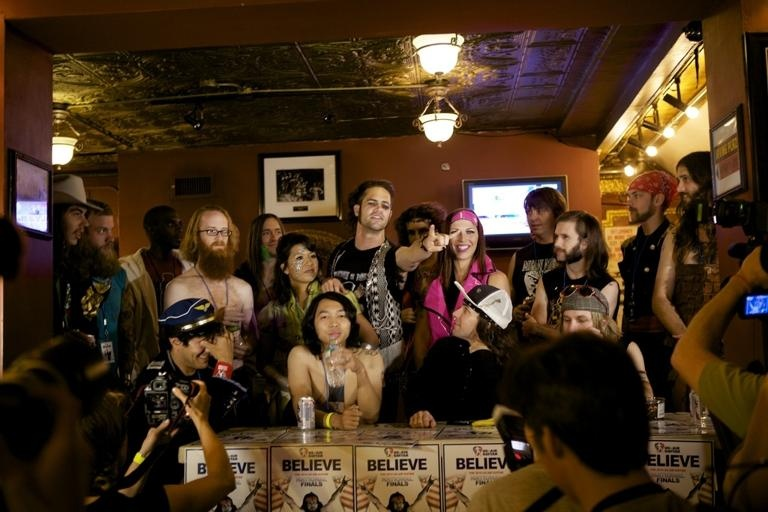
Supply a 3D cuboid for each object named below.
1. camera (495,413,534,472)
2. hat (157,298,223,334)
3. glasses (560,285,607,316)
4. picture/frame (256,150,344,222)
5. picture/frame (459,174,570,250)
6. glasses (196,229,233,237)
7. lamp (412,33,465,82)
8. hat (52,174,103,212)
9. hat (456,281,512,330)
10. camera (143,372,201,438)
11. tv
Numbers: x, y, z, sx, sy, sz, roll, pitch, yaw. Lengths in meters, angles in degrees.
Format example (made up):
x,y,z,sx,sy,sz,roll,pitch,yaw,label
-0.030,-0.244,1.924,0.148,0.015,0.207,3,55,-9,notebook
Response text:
x,y,z,sx,sy,sz,roll,pitch,yaw,label
0.489,0.721,2.366,0.110,0.159,0.112,32,-49,-29,camera
-1.428,0.446,4.507,0.330,0.119,0.256,-23,-10,25,hat
1.249,0.278,3.924,0.268,0.178,0.163,1,-1,12,glasses
-1.015,-0.856,7.901,1.026,0.842,0.078,-1,-8,3,picture/frame
1.385,-0.449,6.653,0.982,0.704,0.075,0,-13,5,picture/frame
-1.539,-0.212,5.692,0.253,0.057,0.081,2,-1,-20,glasses
0.464,-1.696,5.224,0.395,0.277,0.342,0,-1,-5,lamp
-2.860,-0.597,5.833,0.245,0.345,0.480,1,-1,29,hat
0.671,0.303,4.136,0.348,0.178,0.214,38,14,3,hat
-1.235,0.812,3.678,0.290,0.258,0.289,-5,-5,-4,camera
1.397,-0.444,6.659,0.975,0.698,0.071,-1,-12,5,tv
